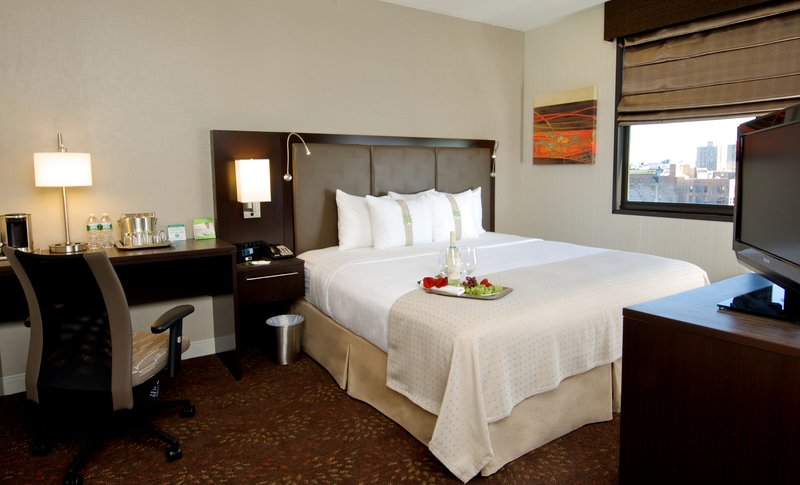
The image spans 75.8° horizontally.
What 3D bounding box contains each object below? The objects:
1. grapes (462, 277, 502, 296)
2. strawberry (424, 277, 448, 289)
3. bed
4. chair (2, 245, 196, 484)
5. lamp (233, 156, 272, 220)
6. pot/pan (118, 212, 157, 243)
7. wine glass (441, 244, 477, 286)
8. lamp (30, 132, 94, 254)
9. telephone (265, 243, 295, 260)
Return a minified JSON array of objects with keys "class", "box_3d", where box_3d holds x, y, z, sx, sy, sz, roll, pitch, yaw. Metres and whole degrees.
[{"class":"grapes","box_3d":[0.596,0.306,3.727,0.281,0.096,0.151,-1,10,12]},{"class":"strawberry","box_3d":[0.262,0.288,3.846,0.191,0.071,0.094,-1,10,10]},{"class":"bed","box_3d":[0.683,0.155,4.681,2.700,2.258,2.862,-10,13,-36]},{"class":"chair","box_3d":[-2.123,0.755,3.542,1.207,1.567,0.713,0,11,15]},{"class":"lamp","box_3d":[-1.356,-0.508,4.819,0.361,0.565,0.302,-7,11,-23]},{"class":"pot/pan","box_3d":[-2.229,-0.134,4.337,0.284,0.278,0.254,0,4,-26]},{"class":"wine glass","box_3d":[0.451,0.161,4.027,0.295,0.455,0.297,0,0,1]},{"class":"lamp","box_3d":[-2.739,-0.426,4.194,0.384,0.948,0.409,-10,13,-34]},{"class":"telephone","box_3d":[-1.171,0.054,4.830,0.156,0.071,0.217,-4,10,-36]}]
